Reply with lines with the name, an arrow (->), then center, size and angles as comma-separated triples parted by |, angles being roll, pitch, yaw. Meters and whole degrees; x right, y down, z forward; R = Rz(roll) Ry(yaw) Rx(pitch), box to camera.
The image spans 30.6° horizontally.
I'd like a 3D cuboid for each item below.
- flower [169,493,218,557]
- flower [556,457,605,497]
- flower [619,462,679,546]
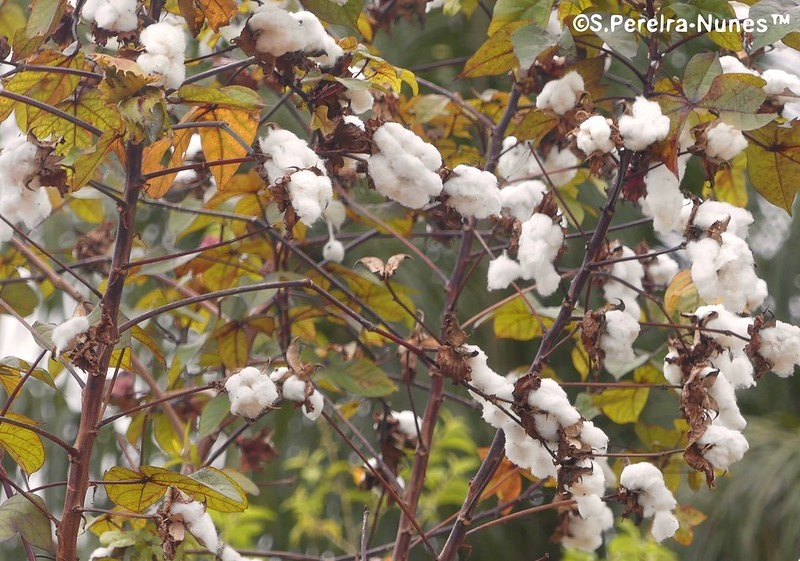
flower -> -0.328, 0.397, 2.376 | 0.061, 0.101, 0.040 | -38, 2, 1
flower -> 0.316, 0.340, 2.441 | 0.068, 0.062, 0.162 | -16, -14, 23
flower -> 0.420, 0.374, 2.468 | 0.076, 0.141, 0.061 | -29, -5, 18
